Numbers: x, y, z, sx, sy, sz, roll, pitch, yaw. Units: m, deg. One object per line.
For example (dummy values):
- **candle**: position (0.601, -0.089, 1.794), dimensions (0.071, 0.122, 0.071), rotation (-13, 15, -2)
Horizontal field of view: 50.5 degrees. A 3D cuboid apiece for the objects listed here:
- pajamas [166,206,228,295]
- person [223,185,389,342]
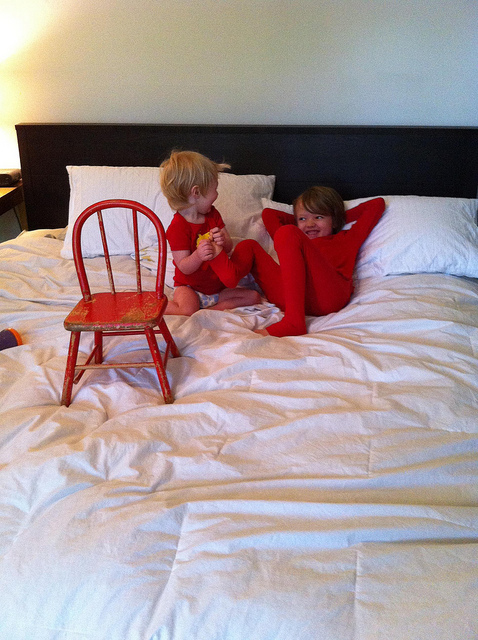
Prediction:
- **pajamas**: position (-0.147, -0.278, 1.912), dimensions (0.168, 0.292, 0.251), rotation (30, 46, 33)
- **person**: position (0.243, -0.191, 1.954), dimensions (0.568, 0.779, 0.358), rotation (12, -25, -1)
